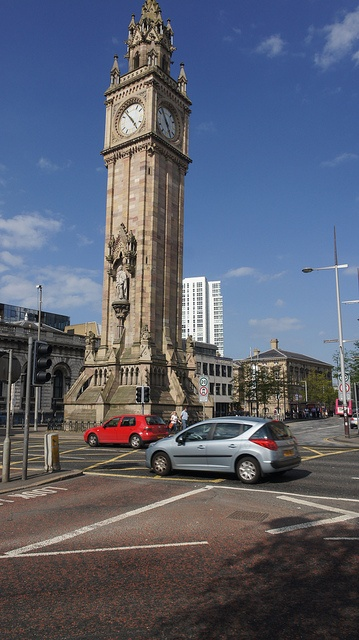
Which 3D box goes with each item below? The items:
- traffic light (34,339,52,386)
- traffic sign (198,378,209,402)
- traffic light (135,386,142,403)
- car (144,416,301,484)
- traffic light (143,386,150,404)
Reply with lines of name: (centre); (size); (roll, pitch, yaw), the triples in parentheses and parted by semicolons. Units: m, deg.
traffic light: (-3.179, 0.979, 11.051); (0.408, 1.075, 1.017); (3, -11, -16)
traffic sign: (1.275, 3.608, 24.710); (0.381, 1.143, 1.097); (0, -10, -2)
traffic light: (-1.915, 3.495, 22.333); (0.256, 0.634, 0.580); (3, -10, -16)
car: (1.094, 2.959, 10.887); (2.519, 1.185, 1.571); (-5, -15, 28)
traffic light: (-1.565, 3.463, 22.277); (0.214, 0.671, 0.428); (-1, -10, 7)
